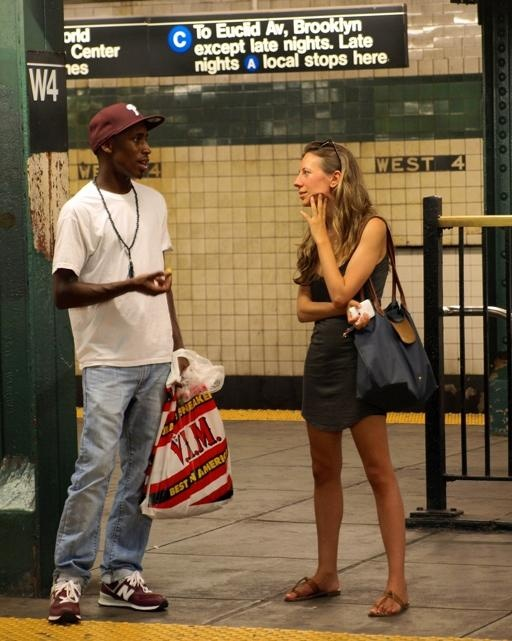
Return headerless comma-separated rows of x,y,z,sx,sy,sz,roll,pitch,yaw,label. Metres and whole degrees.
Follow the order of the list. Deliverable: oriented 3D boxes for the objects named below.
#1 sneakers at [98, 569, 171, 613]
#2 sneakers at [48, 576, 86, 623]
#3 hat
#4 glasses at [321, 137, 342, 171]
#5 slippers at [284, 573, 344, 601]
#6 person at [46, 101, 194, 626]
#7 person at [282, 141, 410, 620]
-0.494,1.099,4.347,0.311,0.126,0.123,1,-6,15,sneakers
-0.741,1.082,4.157,0.131,0.169,0.222,-2,2,-10,sneakers
-0.533,-0.812,4.312,0.311,0.140,0.197,-15,5,34,hat
0.331,-0.679,4.395,0.036,0.109,0.115,-9,20,-19,glasses
0.236,1.094,4.385,0.234,0.086,0.082,2,-8,-16,slippers
-0.575,0.140,4.299,0.559,2.046,0.536,-2,2,-4,person
0.364,0.185,4.332,0.554,1.884,0.498,-1,2,29,person
